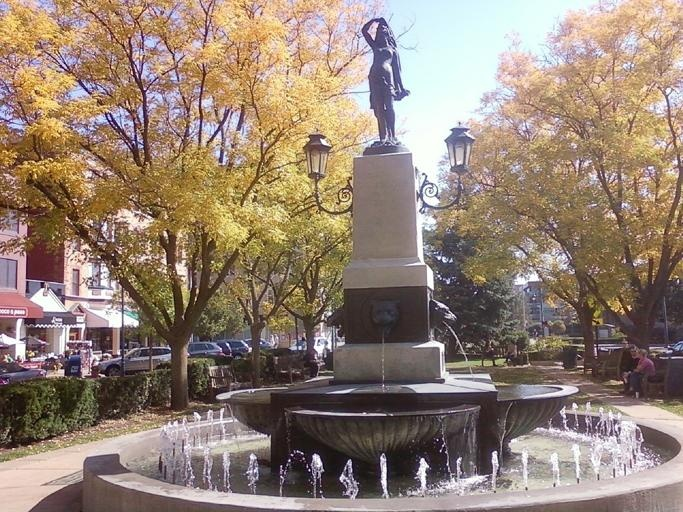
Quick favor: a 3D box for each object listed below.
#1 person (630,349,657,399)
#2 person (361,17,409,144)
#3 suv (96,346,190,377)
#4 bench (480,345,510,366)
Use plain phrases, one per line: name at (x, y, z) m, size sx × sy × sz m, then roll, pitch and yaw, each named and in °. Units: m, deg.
person at (9.387, 3.665, 18.983) m, size 0.815 × 1.416 × 1.530 m, roll -8°, pitch -7°, yaw 23°
person at (0.797, -3.311, 11.238) m, size 0.642 × 2.773 × 1.038 m, roll -7°, pitch -7°, yaw 17°
suv at (-11.473, 5.802, 33.499) m, size 3.745 × 1.396 × 7.711 m, roll -2°, pitch -8°, yaw -23°
bench at (10.123, 6.544, 39.972) m, size 0.874 × 1.646 × 3.370 m, roll -20°, pitch -24°, yaw 38°
